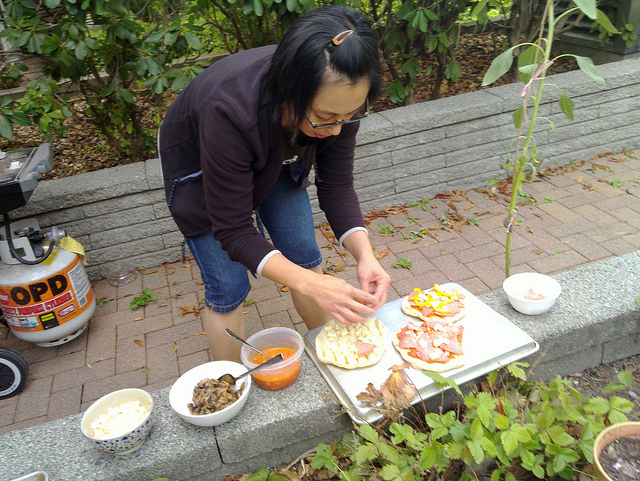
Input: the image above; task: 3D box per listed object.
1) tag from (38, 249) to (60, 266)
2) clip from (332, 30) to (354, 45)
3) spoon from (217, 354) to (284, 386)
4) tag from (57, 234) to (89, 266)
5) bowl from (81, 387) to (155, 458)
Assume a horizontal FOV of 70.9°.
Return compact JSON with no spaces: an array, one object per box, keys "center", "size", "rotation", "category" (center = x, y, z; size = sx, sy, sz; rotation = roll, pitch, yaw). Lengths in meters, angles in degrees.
[{"center":[-2.005,0.133,3.357],"size":[0.005,0.120,0.108],"rotation":[38,68,16],"category":"tag"},{"center":[0.084,-0.798,1.762],"size":[0.101,0.023,0.037],"rotation":[-28,88,-11],"category":"clip"},{"center":[-0.334,0.616,2.131],"size":[0.322,0.154,0.063],"rotation":[-7,40,-6],"category":"spoon"},{"center":[-1.922,0.053,3.518],"size":[0.206,0.189,0.076],"rotation":[39,82,9],"category":"tag"},{"center":[-0.947,0.835,2.118],"size":[0.344,0.167,0.318],"rotation":[-5,29,3],"category":"bowl"}]
